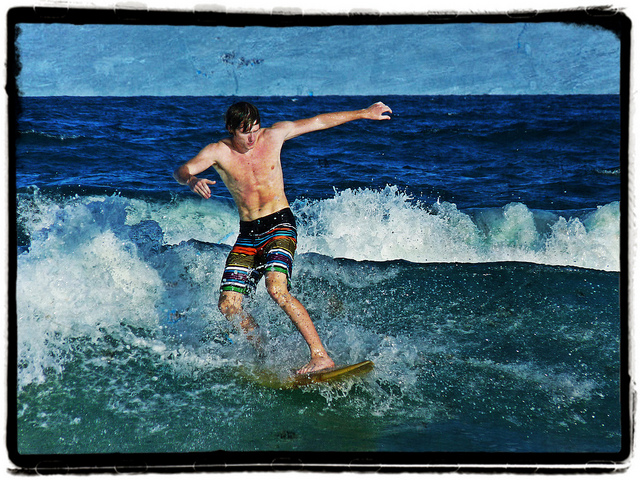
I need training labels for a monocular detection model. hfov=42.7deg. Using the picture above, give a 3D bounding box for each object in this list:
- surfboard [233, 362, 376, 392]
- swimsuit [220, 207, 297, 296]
[{"bbox_3d":[-0.079,1.608,9.506,1.934,0.263,0.575,-1,6,23],"label":"surfboard"},{"bbox_3d":[-0.748,0.043,10.029,0.723,1.188,0.801,1,9,1],"label":"swimsuit"}]
